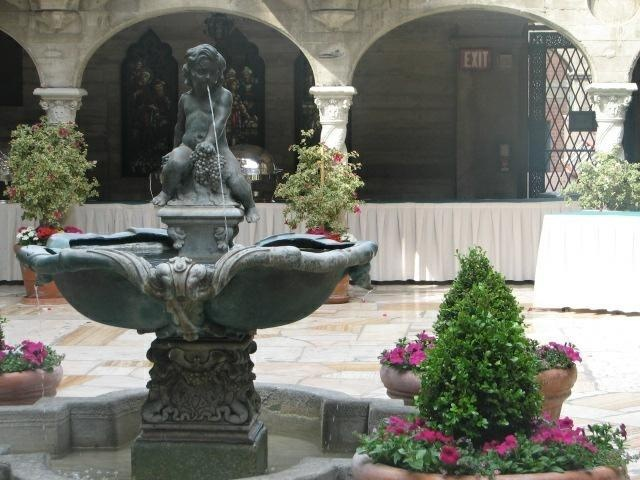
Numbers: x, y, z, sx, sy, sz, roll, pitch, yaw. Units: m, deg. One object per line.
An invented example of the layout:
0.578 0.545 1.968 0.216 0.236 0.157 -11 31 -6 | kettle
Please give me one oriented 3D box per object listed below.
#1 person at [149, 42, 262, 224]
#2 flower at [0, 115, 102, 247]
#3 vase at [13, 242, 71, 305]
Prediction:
-0.791 -0.749 6.994 0.710 1.241 0.517 0 6 -4 | person
-3.630 -0.797 13.539 1.110 1.597 1.447 -2 6 -16 | flower
-3.677 0.582 13.240 0.492 0.457 0.768 -4 7 -36 | vase
